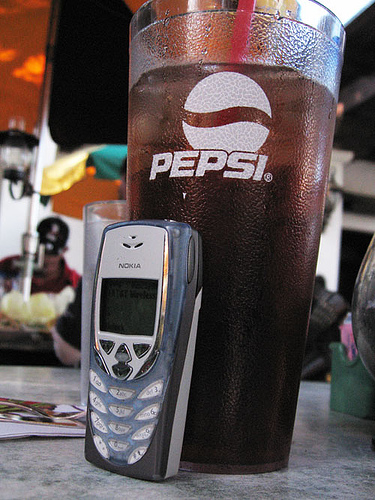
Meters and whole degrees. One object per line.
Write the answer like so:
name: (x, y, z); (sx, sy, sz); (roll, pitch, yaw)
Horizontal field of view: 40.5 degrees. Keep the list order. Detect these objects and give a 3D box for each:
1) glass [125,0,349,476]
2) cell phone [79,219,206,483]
glass: (0.020, -0.012, 0.369); (0.169, 0.333, 0.134); (6, 7, -2)
cell phone: (-0.037, 0.060, 0.322); (0.090, 0.160, 0.044); (10, 7, 24)
